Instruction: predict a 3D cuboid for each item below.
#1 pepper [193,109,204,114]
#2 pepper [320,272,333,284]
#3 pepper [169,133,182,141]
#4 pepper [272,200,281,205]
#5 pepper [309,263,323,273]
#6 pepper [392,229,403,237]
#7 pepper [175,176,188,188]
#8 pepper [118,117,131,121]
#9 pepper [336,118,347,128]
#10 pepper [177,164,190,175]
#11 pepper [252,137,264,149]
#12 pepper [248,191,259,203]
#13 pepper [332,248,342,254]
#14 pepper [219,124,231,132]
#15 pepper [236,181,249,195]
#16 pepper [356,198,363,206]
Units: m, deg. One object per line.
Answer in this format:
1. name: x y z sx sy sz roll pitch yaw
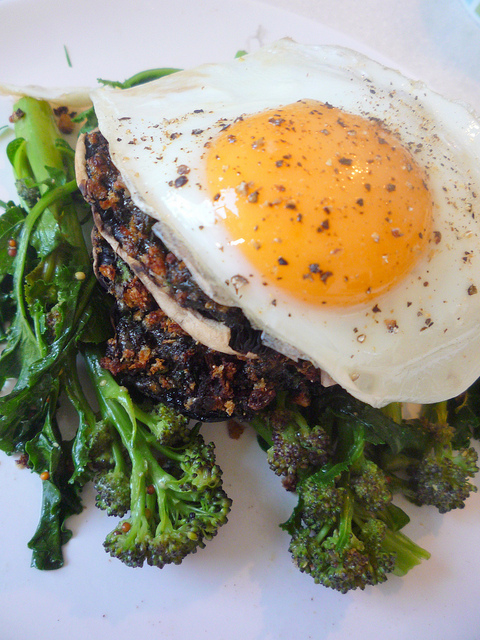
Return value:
1. pepper: -0.146 -0.746 2.357 0.036 0.010 0.014 -3 97 -33
2. pepper: 0.272 -0.139 2.098 0.022 0.008 0.030 33 97 -3
3. pepper: -0.221 -0.632 2.262 0.025 0.010 0.030 5 40 28
4. pepper: 0.117 -0.371 2.074 0.026 0.009 0.012 -5 58 -4
5. pepper: 0.241 -0.164 2.092 0.027 0.020 0.036 -38 65 -22
6. pepper: 0.511 -0.282 2.129 0.026 0.010 0.018 39 70 -11
7. pepper: -0.191 -0.454 2.157 0.039 0.009 0.027 -44 68 -1
8. pepper: -0.413 -0.717 2.358 0.038 0.012 0.009 -7 78 -7
9. pepper: 0.343 -0.661 2.218 0.024 0.010 0.036 -36 72 -18
10. pepper: -0.184 -0.497 2.176 0.040 0.012 0.039 -1 56 -1
11. pepper: 0.060 -0.571 2.131 0.023 0.010 0.038 34 75 27
12. pepper: 0.046 -0.389 2.088 0.028 0.017 0.031 35 89 10
13. pepper: 0.305 -0.218 2.089 0.023 0.010 0.009 -28 63 -18
14. pepper: -0.045 -0.663 2.272 0.026 0.012 0.033 -7 48 -24
15. pepper: 0.012 -0.419 2.091 0.038 0.016 0.040 4 70 6
16. pepper: 0.383 -0.378 2.104 0.021 0.013 0.025 3 57 2
